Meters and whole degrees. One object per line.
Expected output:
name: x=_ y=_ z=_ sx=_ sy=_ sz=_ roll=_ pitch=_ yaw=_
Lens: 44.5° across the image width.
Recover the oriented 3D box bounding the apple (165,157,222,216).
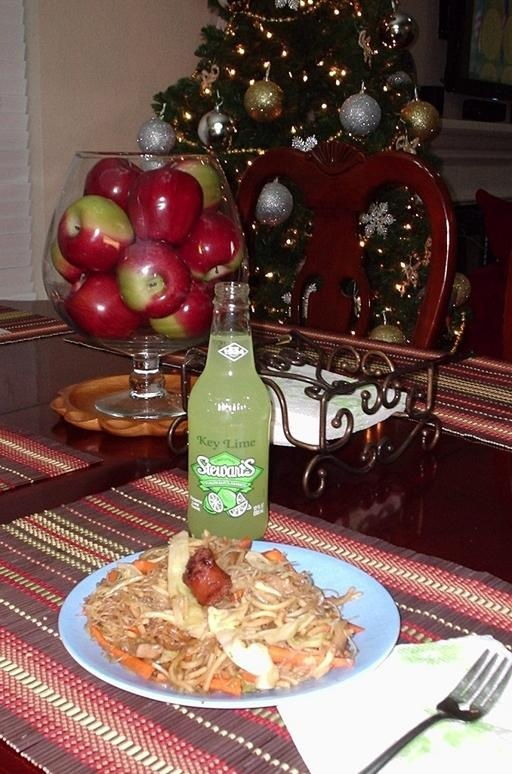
apple: x=-0.061 y=-0.216 z=0.718 sx=0.058 sy=0.055 sz=0.066 roll=24 pitch=42 yaw=2

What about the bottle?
bottle: x=-0.023 y=0.018 z=0.427 sx=0.058 sy=0.174 sz=0.060 roll=-5 pitch=13 yaw=1

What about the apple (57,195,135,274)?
apple: x=-0.164 y=-0.155 z=0.666 sx=0.076 sy=0.073 sz=0.076 roll=26 pitch=22 yaw=17

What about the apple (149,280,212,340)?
apple: x=-0.067 y=-0.070 z=0.658 sx=0.061 sy=0.054 sz=0.061 roll=23 pitch=3 yaw=22

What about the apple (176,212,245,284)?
apple: x=-0.045 y=-0.145 z=0.646 sx=0.072 sy=0.079 sz=0.071 roll=3 pitch=-21 yaw=5

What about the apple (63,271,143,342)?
apple: x=-0.168 y=-0.087 z=0.661 sx=0.063 sy=0.066 sz=0.060 roll=-9 pitch=2 yaw=-20

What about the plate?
plate: x=-0.002 y=0.117 z=0.306 sx=0.092 sy=0.011 sz=0.088 roll=4 pitch=13 yaw=3

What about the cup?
cup: x=-0.131 y=-0.092 z=0.709 sx=0.192 sy=0.221 sz=0.184 roll=-5 pitch=12 yaw=1

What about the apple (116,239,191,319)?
apple: x=-0.103 y=-0.116 z=0.641 sx=0.088 sy=0.090 sz=0.087 roll=8 pitch=9 yaw=-2

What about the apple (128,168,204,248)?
apple: x=-0.092 y=-0.180 z=0.637 sx=0.078 sy=0.078 sz=0.080 roll=1 pitch=0 yaw=-8
